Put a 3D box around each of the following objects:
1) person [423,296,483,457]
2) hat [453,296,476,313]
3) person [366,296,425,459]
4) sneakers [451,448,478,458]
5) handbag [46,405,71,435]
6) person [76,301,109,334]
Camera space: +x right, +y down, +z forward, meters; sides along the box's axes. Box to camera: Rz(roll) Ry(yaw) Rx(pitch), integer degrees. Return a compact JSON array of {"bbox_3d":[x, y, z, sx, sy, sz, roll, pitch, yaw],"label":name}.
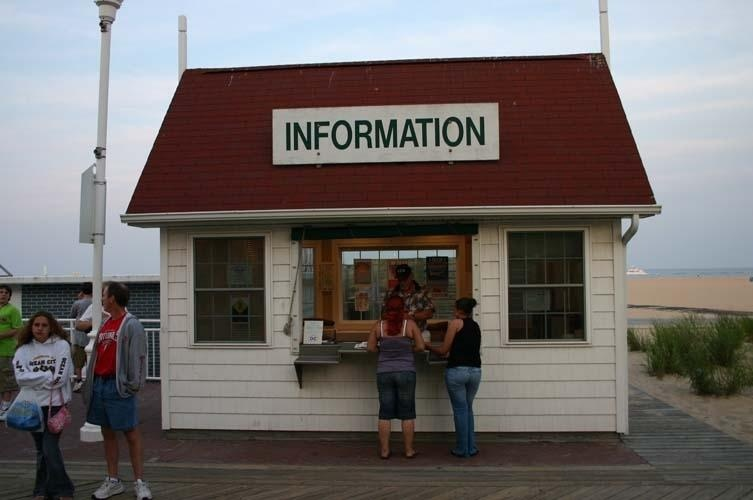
[{"bbox_3d":[1.377,2.044,16.513,0.688,2.382,0.910,-3,15,-12],"label":"person"},{"bbox_3d":[1.446,0.892,16.636,0.228,0.226,0.291,2,-12,-19],"label":"hat"},{"bbox_3d":[0.311,2.051,16.485,0.899,2.500,0.902,0,14,0],"label":"person"},{"bbox_3d":[1.418,3.252,16.444,0.432,0.182,0.144,-2,2,12],"label":"sneakers"},{"bbox_3d":[-4.625,2.497,14.994,0.146,0.382,0.336,13,20,42],"label":"handbag"},{"bbox_3d":[-4.778,1.146,17.357,0.854,0.356,0.271,-6,32,-20],"label":"person"}]
